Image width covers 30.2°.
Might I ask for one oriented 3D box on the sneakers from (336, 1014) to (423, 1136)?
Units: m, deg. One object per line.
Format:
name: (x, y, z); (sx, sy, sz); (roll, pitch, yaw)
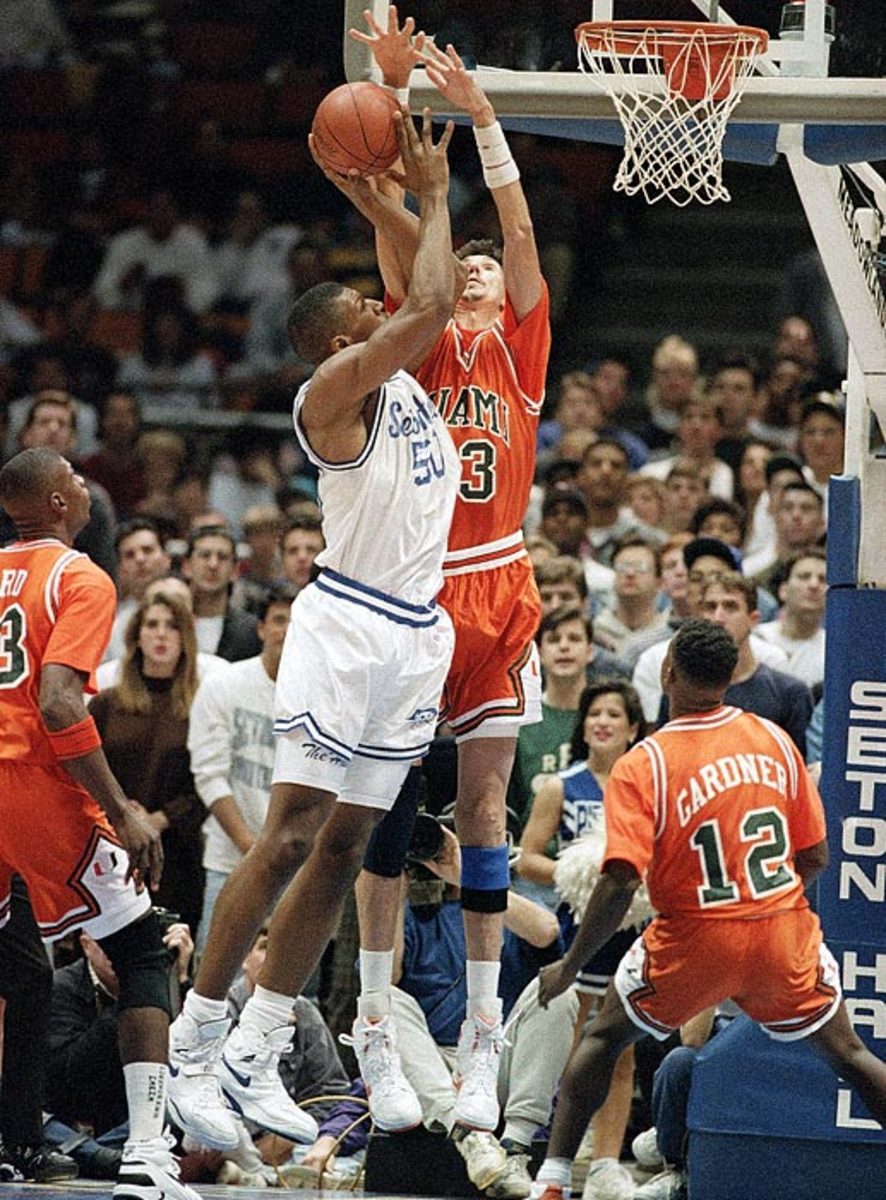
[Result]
sneakers: (-0.185, 1.359, 4.836); (0.196, 0.380, 0.178); (-12, -45, -11)

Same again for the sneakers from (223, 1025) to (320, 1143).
sneakers: (-0.462, 1.298, 4.428); (0.280, 0.296, 0.221); (7, -15, -4)

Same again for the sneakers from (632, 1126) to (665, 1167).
sneakers: (0.694, 1.870, 5.604); (0.128, 0.143, 0.075); (-6, -19, 28)

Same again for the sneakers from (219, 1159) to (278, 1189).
sneakers: (-0.659, 1.954, 5.585); (0.168, 0.063, 0.201); (7, -14, -11)

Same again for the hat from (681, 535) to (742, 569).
hat: (1.183, -0.193, 7.210); (0.251, 0.159, 0.209); (3, -14, 7)

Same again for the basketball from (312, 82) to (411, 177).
basketball: (-0.223, -1.300, 4.447); (0.251, 0.295, 0.195); (4, -15, 5)

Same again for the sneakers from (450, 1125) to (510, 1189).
sneakers: (0.123, 1.721, 5.098); (0.091, 0.113, 0.259); (59, -15, -25)
